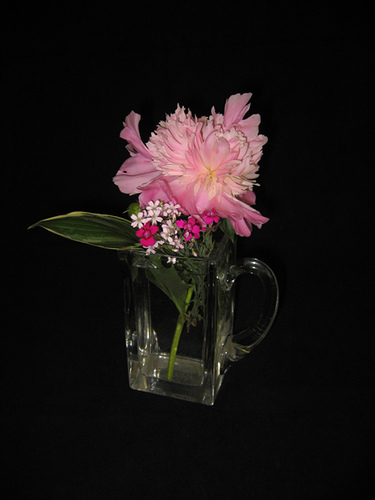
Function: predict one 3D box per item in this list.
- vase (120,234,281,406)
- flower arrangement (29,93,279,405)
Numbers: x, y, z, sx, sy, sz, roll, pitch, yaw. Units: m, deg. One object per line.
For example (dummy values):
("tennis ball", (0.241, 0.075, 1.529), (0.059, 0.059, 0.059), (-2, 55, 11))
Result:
("vase", (0.007, 0.089, 0.753), (0.211, 0.170, 0.236), (2, -69, 6))
("flower arrangement", (0.007, -0.017, 0.678), (0.275, 0.281, 0.421), (16, -47, 22))
